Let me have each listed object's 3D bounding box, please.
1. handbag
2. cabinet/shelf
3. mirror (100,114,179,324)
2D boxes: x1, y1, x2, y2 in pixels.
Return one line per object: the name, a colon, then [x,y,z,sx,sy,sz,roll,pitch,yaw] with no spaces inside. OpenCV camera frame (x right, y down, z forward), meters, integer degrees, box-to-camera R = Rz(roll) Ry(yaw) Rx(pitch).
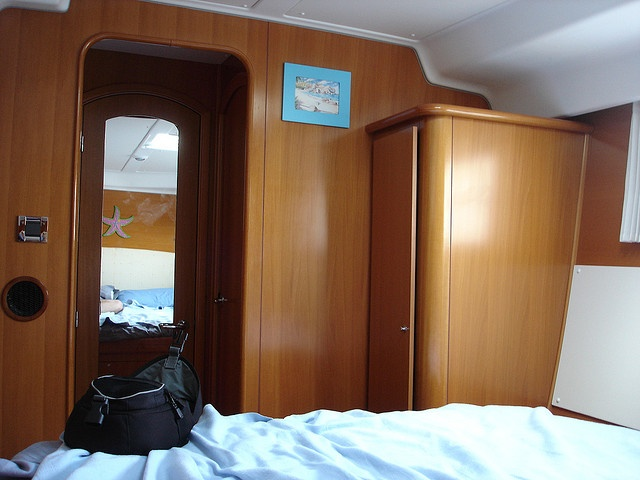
handbag: [-0.786,0.638,2.145,0.439,0.489,0.644,0,-7,6]
cabinet/shelf: [0.545,0.162,3.062,0.520,1.834,0.195,3,12,30]
mirror: [-1.410,-0.244,3.780,0.585,2.223,0.012,5,-39,-27]
